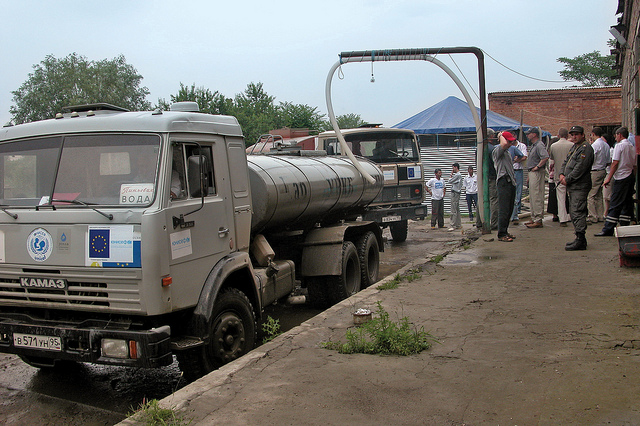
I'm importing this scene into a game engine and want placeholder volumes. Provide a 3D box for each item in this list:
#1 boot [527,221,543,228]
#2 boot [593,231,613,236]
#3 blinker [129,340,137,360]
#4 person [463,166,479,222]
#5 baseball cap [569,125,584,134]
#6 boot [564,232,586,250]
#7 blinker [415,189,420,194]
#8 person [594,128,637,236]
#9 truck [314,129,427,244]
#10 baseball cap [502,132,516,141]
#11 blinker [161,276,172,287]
[{"bbox_3d":[6.051,0.365,14.620,0.415,0.182,0.142,2,1,5],"label":"boot"},{"bbox_3d":[6.548,0.498,12.029,0.396,0.150,0.131,3,4,12],"label":"boot"},{"bbox_3d":[-2.058,1.511,5.711,0.085,0.206,0.035,-2,10,17],"label":"blinker"},{"bbox_3d":[5.737,-0.684,19.737,0.438,2.204,1.355,-2,9,14],"label":"person"},{"bbox_3d":[5.484,-1.787,11.069,0.236,0.109,0.165,-4,-4,-23],"label":"baseball cap"},{"bbox_3d":[5.276,0.629,10.813,0.545,0.383,0.221,-1,5,5],"label":"boot"},{"bbox_3d":[2.976,-0.651,15.970,0.173,0.163,0.041,0,-1,-9],"label":"blinker"},{"bbox_3d":[6.690,-0.652,11.638,0.648,2.458,1.076,1,10,28],"label":"person"},{"bbox_3d":[0.682,-0.777,18.082,3.299,3.745,5.996,-6,2,-30],"label":"truck"},{"bbox_3d":[4.618,-1.878,12.789,0.195,0.220,0.533,1,10,28],"label":"baseball cap"},{"bbox_3d":[-1.732,0.773,5.840,0.104,0.078,0.143,-1,-3,-9],"label":"blinker"}]
